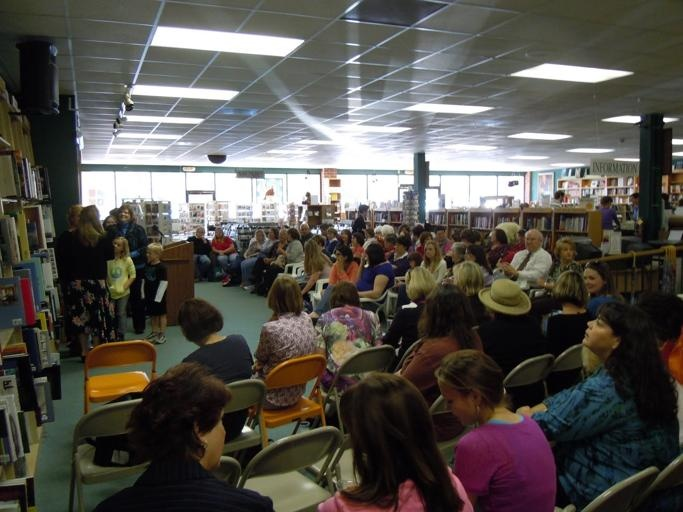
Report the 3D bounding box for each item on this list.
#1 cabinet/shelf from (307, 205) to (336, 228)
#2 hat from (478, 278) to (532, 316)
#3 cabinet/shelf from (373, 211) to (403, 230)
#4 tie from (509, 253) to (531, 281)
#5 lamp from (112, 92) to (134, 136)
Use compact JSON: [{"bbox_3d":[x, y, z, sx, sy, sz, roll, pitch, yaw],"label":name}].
[{"bbox_3d":[-0.566,-1.186,14.492,0.708,0.757,0.769,1,0,14],"label":"cabinet/shelf"},{"bbox_3d":[1.126,0.299,3.375,0.254,0.112,0.279,-27,49,-37],"label":"hat"},{"bbox_3d":[1.579,-1.196,16.217,0.306,0.951,0.913,2,-2,-42],"label":"cabinet/shelf"},{"bbox_3d":[2.538,0.163,6.918,0.085,0.067,0.599,26,47,30],"label":"tie"},{"bbox_3d":[-3.996,-2.619,8.960,0.142,0.305,0.843,13,-37,-20],"label":"lamp"}]
